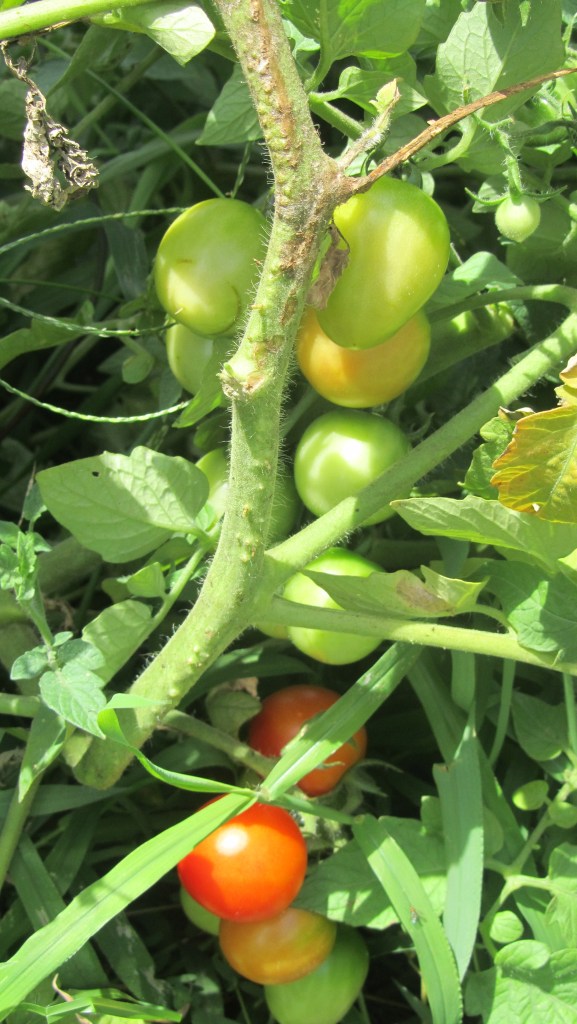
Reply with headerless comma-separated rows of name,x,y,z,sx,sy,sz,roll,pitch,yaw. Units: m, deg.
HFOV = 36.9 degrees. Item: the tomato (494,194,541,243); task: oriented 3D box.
tomato,0.076,-0.098,0.287,0.013,0.017,0.014,-15,35,10
